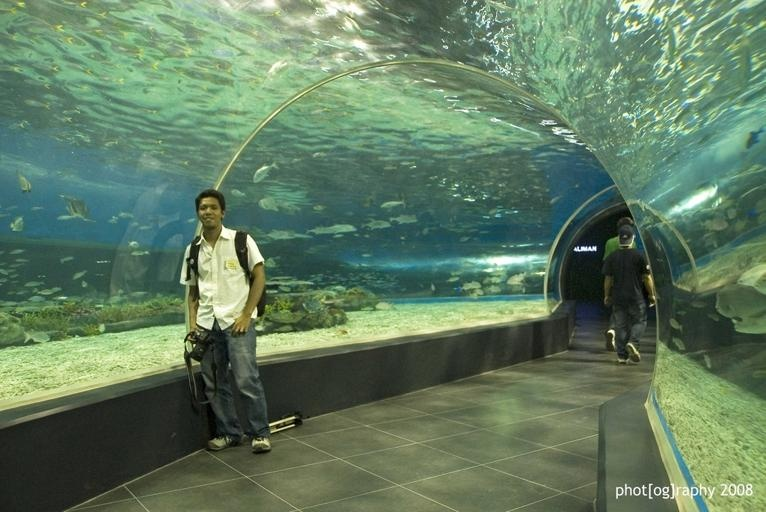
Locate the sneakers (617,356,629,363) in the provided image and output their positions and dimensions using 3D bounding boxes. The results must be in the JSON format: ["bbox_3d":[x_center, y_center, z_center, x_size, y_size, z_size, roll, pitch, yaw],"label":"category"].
[{"bbox_3d":[3.726,1.603,7.612,0.148,0.090,0.105,-5,-5,6],"label":"sneakers"}]

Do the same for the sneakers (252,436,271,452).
[{"bbox_3d":[-1.051,1.635,4.316,0.166,0.121,0.170,-1,-1,-11],"label":"sneakers"}]

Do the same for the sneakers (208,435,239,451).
[{"bbox_3d":[-1.399,1.656,4.334,0.240,0.081,0.093,11,-9,-27],"label":"sneakers"}]
